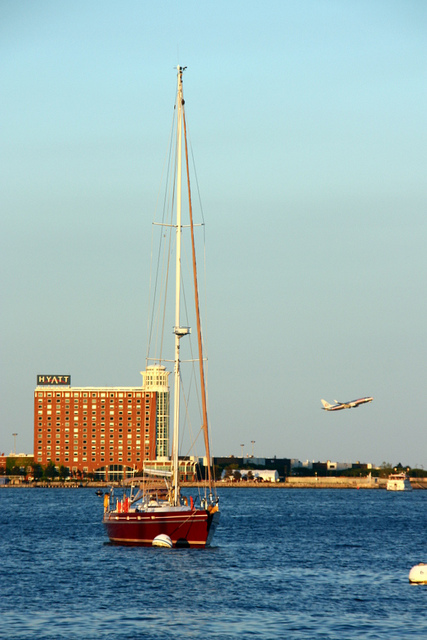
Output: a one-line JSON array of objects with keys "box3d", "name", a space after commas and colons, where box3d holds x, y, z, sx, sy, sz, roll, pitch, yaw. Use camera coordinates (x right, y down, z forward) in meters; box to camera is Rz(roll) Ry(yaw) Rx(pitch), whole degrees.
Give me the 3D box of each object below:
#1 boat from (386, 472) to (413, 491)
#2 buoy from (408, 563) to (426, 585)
[{"box3d": [34.348, 30.122, 288.157, 3.628, 3.221, 8.820, -1, -10, 0], "name": "boat"}, {"box3d": [10.165, 12.748, 77.316, 0.561, 1.017, 0.921, 5, -29, 5], "name": "buoy"}]
